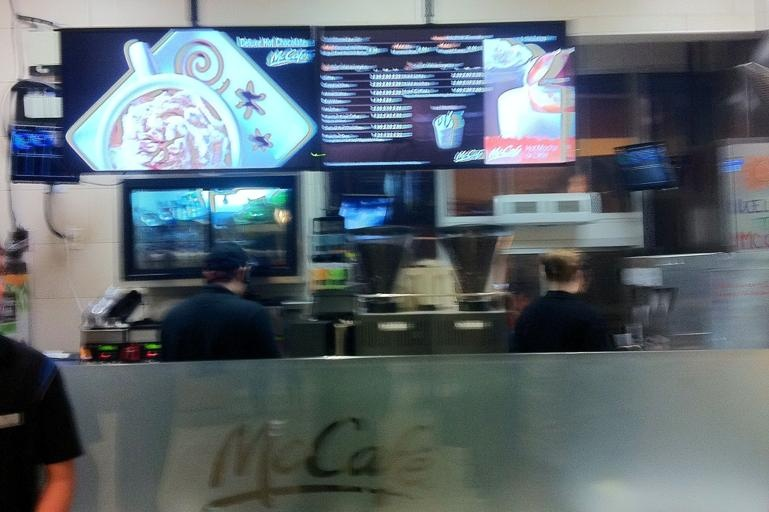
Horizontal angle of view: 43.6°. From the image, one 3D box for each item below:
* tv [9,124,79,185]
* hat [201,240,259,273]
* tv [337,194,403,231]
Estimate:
[{"bbox_3d":[-1.234,-0.366,3.500,0.289,0.185,0.133,1,-2,-2],"label":"tv"},{"bbox_3d":[-0.579,0.009,3.575,0.162,0.104,0.109,-6,3,-23],"label":"hat"},{"bbox_3d":[-0.061,-0.160,3.579,0.187,0.097,0.016,-1,2,-3],"label":"tv"}]
